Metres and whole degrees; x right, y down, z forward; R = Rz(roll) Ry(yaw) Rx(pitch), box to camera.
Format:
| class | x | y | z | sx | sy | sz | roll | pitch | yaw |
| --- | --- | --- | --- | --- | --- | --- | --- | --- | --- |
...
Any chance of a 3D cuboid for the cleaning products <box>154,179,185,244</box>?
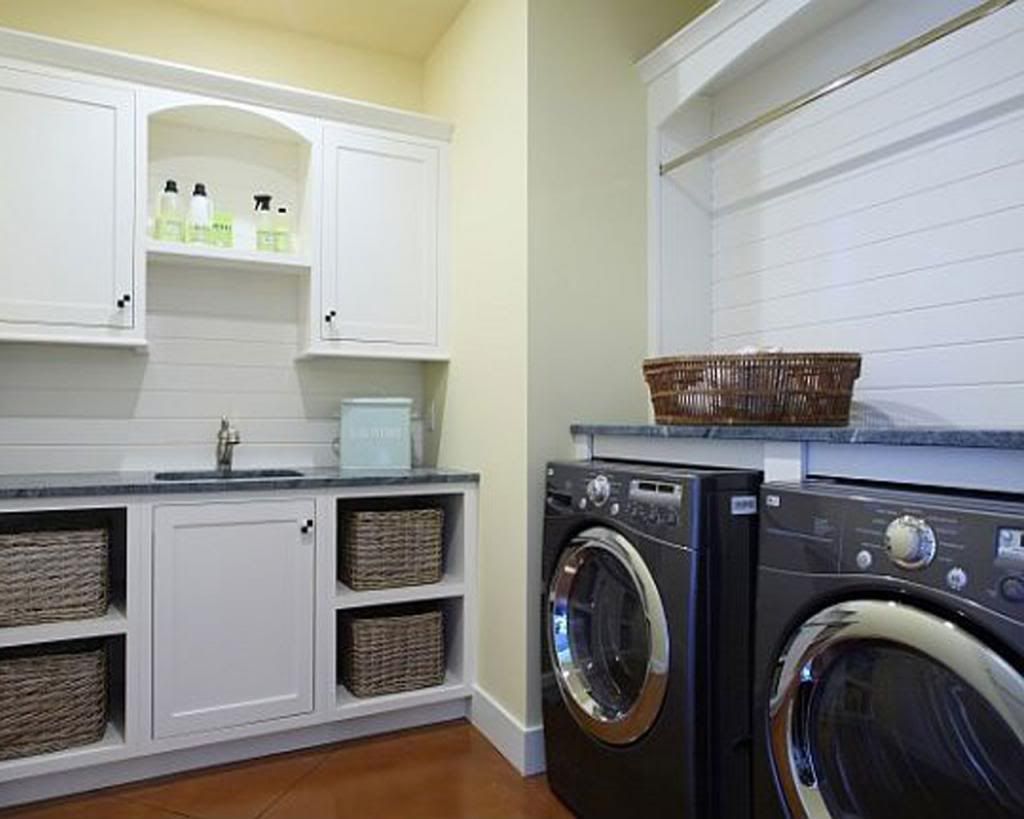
| class | x | y | z | sx | sy | sz | roll | pitch | yaw |
| --- | --- | --- | --- | --- | --- | --- | --- | --- | --- |
| cleaning products | -1.352 | -0.769 | 2.884 | 0.199 | 0.242 | 0.103 | 3 | 4 | 36 |

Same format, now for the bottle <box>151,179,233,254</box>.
| class | x | y | z | sx | sy | sz | roll | pitch | yaw |
| --- | --- | --- | --- | --- | --- | --- | --- | --- | --- |
| bottle | -1.246 | -0.739 | 2.996 | 0.326 | 0.357 | 0.203 | 4 | -6 | -39 |

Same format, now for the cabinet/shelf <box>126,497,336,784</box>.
| class | x | y | z | sx | sy | sz | roll | pitch | yaw |
| --- | --- | --- | --- | --- | --- | --- | --- | --- | --- |
| cabinet/shelf | -1.023 | 0.682 | 2.756 | 0.593 | 0.869 | 0.585 | -1 | 3 | -12 |

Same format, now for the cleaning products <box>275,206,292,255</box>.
| class | x | y | z | sx | sy | sz | roll | pitch | yaw |
| --- | --- | --- | --- | --- | --- | --- | --- | --- | --- |
| cleaning products | -0.958 | -0.760 | 3.099 | 0.065 | 0.227 | 0.250 | 0 | 3 | -15 |

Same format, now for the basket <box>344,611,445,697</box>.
| class | x | y | z | sx | sy | sz | roll | pitch | yaw |
| --- | --- | --- | --- | --- | --- | --- | --- | --- | --- |
| basket | -0.452 | 0.927 | 2.894 | 0.390 | 0.297 | 0.260 | 2 | -6 | -31 |

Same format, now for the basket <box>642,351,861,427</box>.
| class | x | y | z | sx | sy | sz | roll | pitch | yaw |
| --- | --- | --- | --- | --- | --- | --- | --- | --- | --- |
| basket | 0.706 | -0.062 | 2.193 | 0.606 | 0.216 | 0.198 | 1 | 3 | 11 |

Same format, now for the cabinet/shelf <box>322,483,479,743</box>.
| class | x | y | z | sx | sy | sz | roll | pitch | yaw |
| --- | --- | --- | --- | --- | --- | --- | --- | --- | --- |
| cabinet/shelf | -0.441 | 0.744 | 3.051 | 0.712 | 1.071 | 0.730 | -1 | 0 | -18 |

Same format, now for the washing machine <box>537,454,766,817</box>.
| class | x | y | z | sx | sy | sz | roll | pitch | yaw |
| --- | --- | --- | --- | --- | --- | --- | --- | --- | --- |
| washing machine | 0.355 | 0.687 | 2.074 | 0.287 | 1.084 | 0.765 | -2 | 4 | -39 |

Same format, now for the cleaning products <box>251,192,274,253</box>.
| class | x | y | z | sx | sy | sz | roll | pitch | yaw |
| --- | --- | --- | --- | --- | --- | --- | --- | --- | --- |
| cleaning products | -1.005 | -0.758 | 3.010 | 0.066 | 0.244 | 0.178 | -1 | 3 | -19 |

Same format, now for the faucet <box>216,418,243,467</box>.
| class | x | y | z | sx | sy | sz | roll | pitch | yaw |
| --- | --- | --- | --- | --- | --- | --- | --- | --- | --- |
| faucet | -1.177 | 0.137 | 3.072 | 0.100 | 0.212 | 0.092 | -1 | 3 | -22 |
